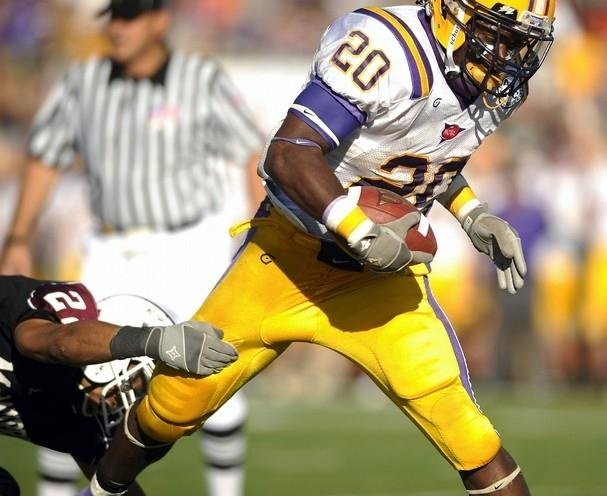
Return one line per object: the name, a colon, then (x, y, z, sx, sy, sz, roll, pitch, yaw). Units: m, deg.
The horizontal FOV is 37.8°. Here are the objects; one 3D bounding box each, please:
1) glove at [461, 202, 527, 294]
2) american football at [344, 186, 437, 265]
glove: (0.688, -0.011, 3.141, 0.110, 0.175, 0.320, -29, 76, -36)
american football: (0.290, -0.092, 2.792, 0.277, 0.165, 0.208, 33, 3, -30)
